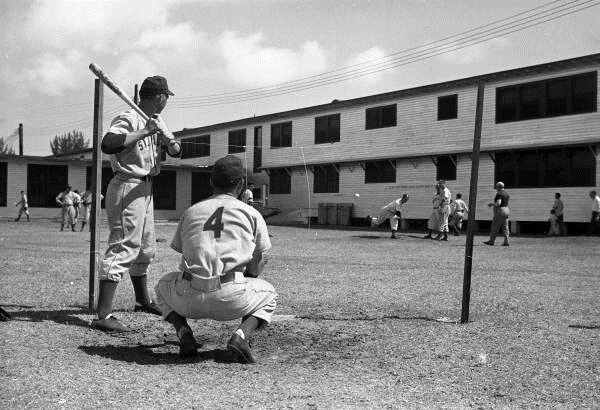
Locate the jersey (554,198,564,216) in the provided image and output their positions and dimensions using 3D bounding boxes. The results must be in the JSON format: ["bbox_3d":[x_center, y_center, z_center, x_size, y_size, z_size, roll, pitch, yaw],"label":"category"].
[{"bbox_3d":[9.946,0.085,23.764,0.395,0.697,0.267,-1,6,-32],"label":"jersey"}]

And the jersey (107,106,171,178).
[{"bbox_3d":[-1.968,-0.734,7.540,0.593,0.814,0.975,6,5,14],"label":"jersey"}]

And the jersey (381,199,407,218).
[{"bbox_3d":[3.920,0.167,25.579,0.400,0.508,0.841,-12,-4,-23],"label":"jersey"}]

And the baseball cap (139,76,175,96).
[{"bbox_3d":[-1.719,-1.417,7.317,0.368,0.212,0.487,1,5,-14],"label":"baseball cap"}]

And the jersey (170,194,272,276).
[{"bbox_3d":[-0.827,0.370,6.647,1.303,1.029,0.745,-1,-6,11],"label":"jersey"}]

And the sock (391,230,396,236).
[{"bbox_3d":[3.416,1.005,22.674,0.138,0.192,0.122,1,5,10],"label":"sock"}]

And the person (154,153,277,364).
[{"bbox_3d":[-0.853,0.568,6.488,1.221,2.142,0.509,1,5,-4],"label":"person"}]

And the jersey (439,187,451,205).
[{"bbox_3d":[5.194,-0.281,22.024,0.443,0.764,0.857,2,-5,20],"label":"jersey"}]

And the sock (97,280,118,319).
[{"bbox_3d":[-2.252,1.082,7.209,0.226,0.447,0.163,0,5,-19],"label":"sock"}]

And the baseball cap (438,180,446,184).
[{"bbox_3d":[5.027,-0.816,22.032,0.352,0.166,0.465,0,2,11],"label":"baseball cap"}]

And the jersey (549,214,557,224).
[{"bbox_3d":[9.799,0.553,23.939,0.286,0.548,0.300,-1,3,-5],"label":"jersey"}]

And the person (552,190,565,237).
[{"bbox_3d":[10.067,0.339,24.043,0.511,1.643,1.105,4,5,22],"label":"person"}]
